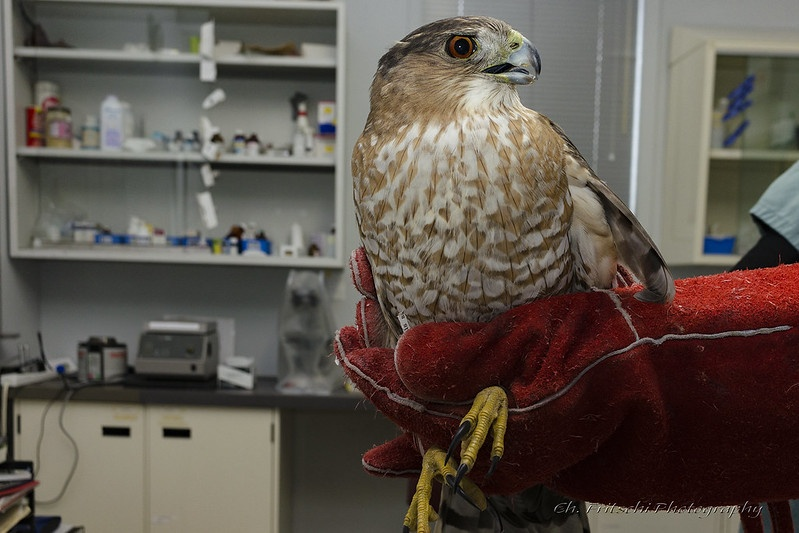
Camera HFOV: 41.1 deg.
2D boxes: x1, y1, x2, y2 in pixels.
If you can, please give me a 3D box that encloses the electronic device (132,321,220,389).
[{"bbox_3d":[-0.960,0.366,4.676,0.337,0.242,0.349,1,6,20],"label":"electronic device"}]
